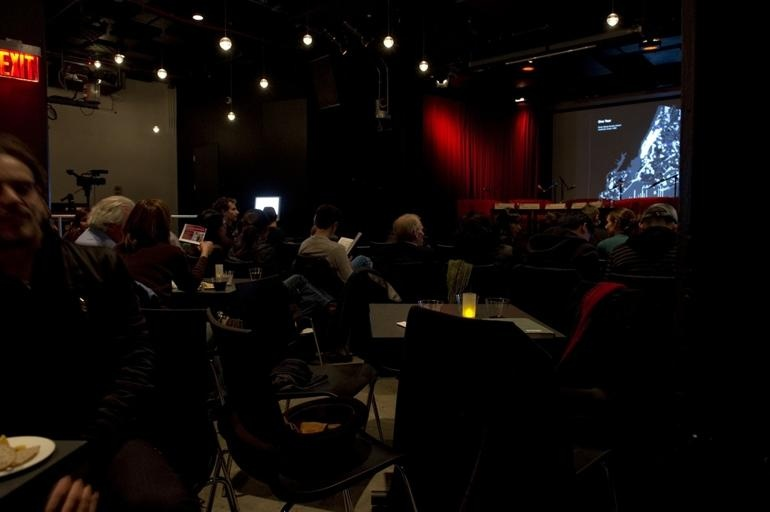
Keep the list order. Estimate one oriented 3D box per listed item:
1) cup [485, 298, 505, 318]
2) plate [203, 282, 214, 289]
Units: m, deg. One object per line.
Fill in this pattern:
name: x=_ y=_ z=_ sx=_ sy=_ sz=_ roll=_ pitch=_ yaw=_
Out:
cup: x=0.628 y=0.300 z=3.261 sx=0.087 sy=0.082 sz=0.098 roll=2 pitch=1 yaw=19
plate: x=-1.453 y=0.245 z=4.687 sx=0.106 sy=0.037 sz=0.084 roll=1 pitch=2 yaw=39
